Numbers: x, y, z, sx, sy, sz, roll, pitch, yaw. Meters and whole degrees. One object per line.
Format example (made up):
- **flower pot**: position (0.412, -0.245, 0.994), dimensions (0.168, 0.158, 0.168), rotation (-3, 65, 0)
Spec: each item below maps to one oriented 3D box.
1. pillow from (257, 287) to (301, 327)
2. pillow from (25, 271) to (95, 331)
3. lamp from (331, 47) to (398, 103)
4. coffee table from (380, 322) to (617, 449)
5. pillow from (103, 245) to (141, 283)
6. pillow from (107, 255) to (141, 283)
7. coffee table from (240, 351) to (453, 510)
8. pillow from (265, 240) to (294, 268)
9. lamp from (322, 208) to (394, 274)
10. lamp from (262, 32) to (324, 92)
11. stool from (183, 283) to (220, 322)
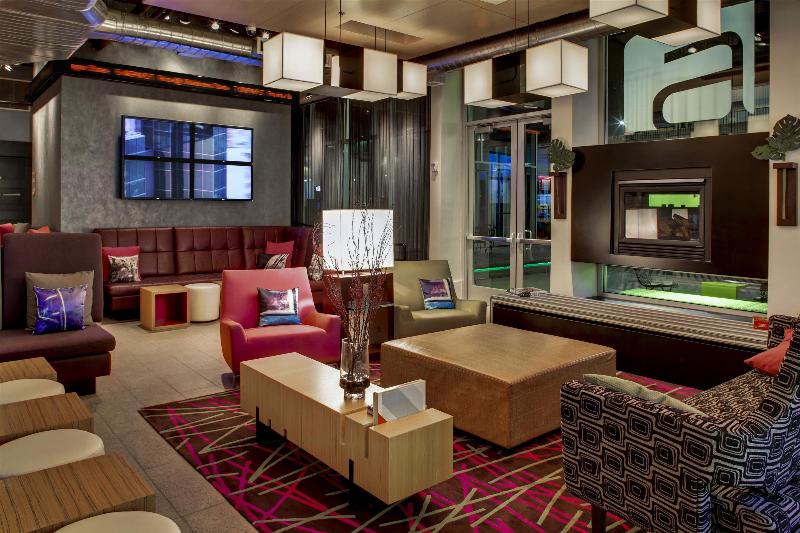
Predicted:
- **pillow**: position (-1.325, 0.442, 5.915), dimensions (0.399, 0.363, 0.128), rotation (4, -18, -23)
- **pillow**: position (-3.376, 0.349, 5.419), dimensions (0.558, 0.511, 0.197), rotation (-4, -10, -30)
- **lamp**: position (-0.438, -2.070, 6.320), dimensions (0.657, 0.406, 0.649), rotation (0, -1, -36)
- **coffee table**: position (1.029, 0.955, 4.857), dimensions (1.151, 0.427, 1.244), rotation (-2, 3, -38)
- **pillow**: position (-4.162, -0.025, 8.200), dimensions (0.508, 0.469, 0.261), rotation (-4, -21, -34)
- **pillow**: position (-4.122, 0.036, 8.166), dimensions (0.405, 0.369, 0.151), rotation (1, -14, -32)
- **coffee table**: position (-0.442, 1.183, 4.182), dimensions (1.637, 0.610, 0.535), rotation (6, 10, 41)
- **pillow**: position (-2.035, -0.192, 9.303), dimensions (0.470, 0.521, 0.200), rotation (0, -43, 1)
- **lamp**: position (-0.498, -0.283, 6.057), dimensions (0.781, 0.628, 0.249), rotation (-1, 0, -40)
- **lamp**: position (-1.199, -2.170, 5.794), dimensions (0.454, 0.437, 0.467), rotation (11, 17, 41)
- **stool**: position (-2.923, 0.542, 8.131), dimensions (0.490, 0.566, 0.359), rotation (-6, 9, -33)
